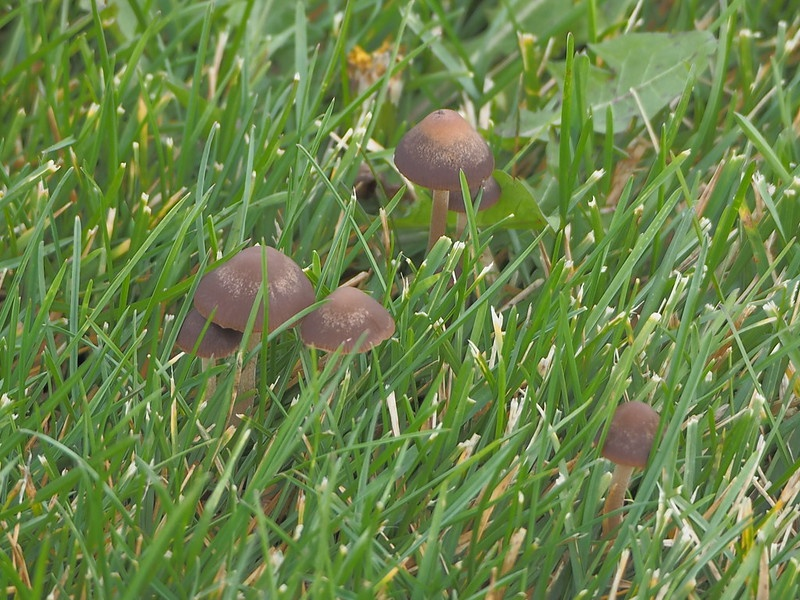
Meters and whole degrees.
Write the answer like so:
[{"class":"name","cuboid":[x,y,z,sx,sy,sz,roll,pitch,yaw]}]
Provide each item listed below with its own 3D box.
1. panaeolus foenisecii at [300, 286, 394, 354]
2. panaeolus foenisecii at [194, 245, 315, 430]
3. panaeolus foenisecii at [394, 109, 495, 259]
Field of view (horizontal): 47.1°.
[{"class":"panaeolus foenisecii","cuboid":[-0.121,0.030,2.162,0.214,0.147,0.253,-1,26,4]},{"class":"panaeolus foenisecii","cuboid":[-0.368,0.099,2.254,0.284,0.493,0.274,-9,27,-35]},{"class":"panaeolus foenisecii","cuboid":[0.127,-0.239,2.503,0.273,0.546,0.287,1,19,2]}]
